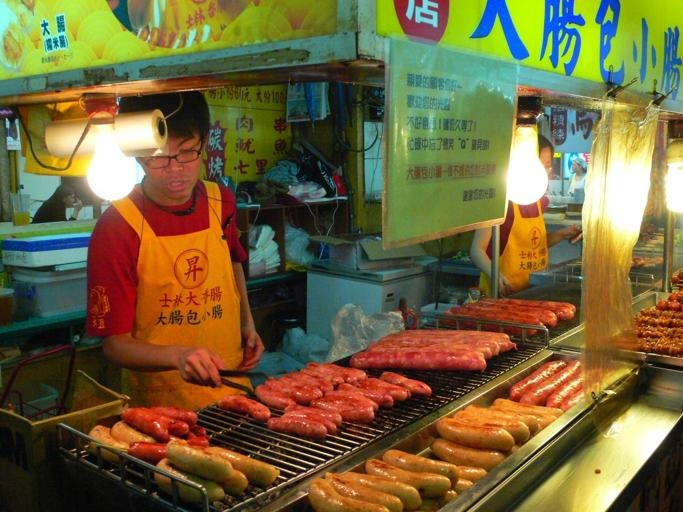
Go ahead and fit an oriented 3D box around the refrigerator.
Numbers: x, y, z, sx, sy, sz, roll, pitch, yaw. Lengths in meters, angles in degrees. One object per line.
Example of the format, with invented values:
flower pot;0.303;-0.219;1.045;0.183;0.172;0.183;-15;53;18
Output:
refrigerator;0.516;0.627;6.533;1.233;0.994;1.752;9;6;35

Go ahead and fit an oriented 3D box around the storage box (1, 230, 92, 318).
storage box;-2.615;0.169;4.430;0.693;0.701;0.365;-8;12;-23

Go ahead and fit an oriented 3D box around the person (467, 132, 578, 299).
person;1.825;-0.414;4.981;1.352;1.558;0.548;-11;14;-35

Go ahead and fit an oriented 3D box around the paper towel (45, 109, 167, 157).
paper towel;-0.972;-0.504;2.052;0.428;0.166;0.167;-6;10;-6

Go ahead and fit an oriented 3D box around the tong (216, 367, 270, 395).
tong;-0.448;0.591;2.429;0.294;0.160;0.065;10;40;-9
